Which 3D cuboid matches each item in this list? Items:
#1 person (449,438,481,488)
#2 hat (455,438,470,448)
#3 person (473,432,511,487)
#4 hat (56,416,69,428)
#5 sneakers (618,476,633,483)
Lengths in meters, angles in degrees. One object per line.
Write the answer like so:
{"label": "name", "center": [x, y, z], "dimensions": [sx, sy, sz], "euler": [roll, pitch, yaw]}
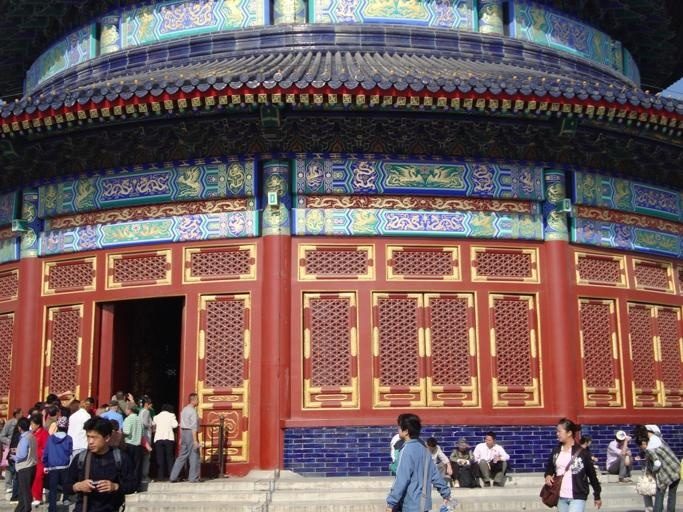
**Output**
{"label": "person", "center": [2.128, 3.549, 12.253], "dimensions": [0.482, 0.794, 0.463], "euler": [-4, -14, 9]}
{"label": "hat", "center": [2.118, 3.286, 12.504], "dimensions": [0.225, 0.170, 0.261], "euler": [-2, 7, 3]}
{"label": "person", "center": [2.620, 3.590, 12.499], "dimensions": [0.594, 0.928, 0.533], "euler": [4, -37, 0]}
{"label": "hat", "center": [-4.065, 2.381, 10.299], "dimensions": [0.167, 0.094, 0.168], "euler": [2, -8, -11]}
{"label": "sneakers", "center": [5.124, 4.016, 12.800], "dimensions": [0.253, 0.110, 0.087], "euler": [-1, -12, 11]}
